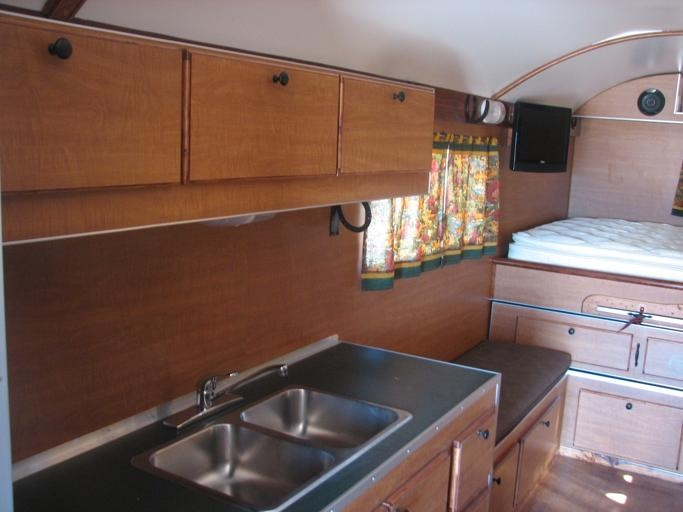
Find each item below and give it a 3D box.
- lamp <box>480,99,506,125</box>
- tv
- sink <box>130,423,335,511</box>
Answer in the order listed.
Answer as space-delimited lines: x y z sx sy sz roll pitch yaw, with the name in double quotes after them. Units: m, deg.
0.993 -0.949 3.510 0.083 0.143 0.378 10 16 27 "lamp"
1.626 -0.953 4.336 0.096 0.531 0.995 15 18 41 "tv"
-0.402 0.685 1.712 0.294 0.147 0.377 12 12 30 "sink"
